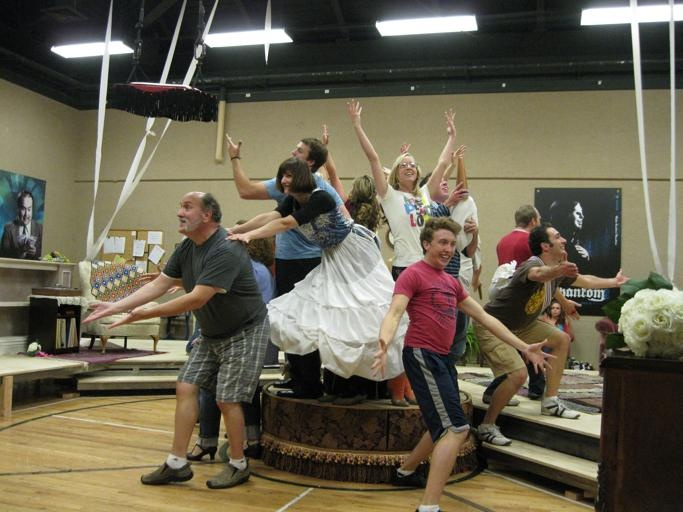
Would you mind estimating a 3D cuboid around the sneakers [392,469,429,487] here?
[{"bbox_3d":[0.460,1.506,3.662,0.251,0.118,0.095,3,-3,-4],"label":"sneakers"}]

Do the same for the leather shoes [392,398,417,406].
[{"bbox_3d":[0.449,1.050,3.854,0.169,0.049,0.066,-2,-7,12],"label":"leather shoes"}]

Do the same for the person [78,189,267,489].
[{"bbox_3d":[-0.914,0.540,3.537,0.886,1.928,0.674,3,-2,-8],"label":"person"}]

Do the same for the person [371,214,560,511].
[{"bbox_3d":[0.601,0.657,3.311,0.972,1.782,0.646,3,-2,-10],"label":"person"}]

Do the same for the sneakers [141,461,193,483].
[{"bbox_3d":[-1.109,1.419,3.513,0.308,0.142,0.136,1,-9,-8],"label":"sneakers"}]

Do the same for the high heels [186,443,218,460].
[{"bbox_3d":[-1.018,1.443,4.007,0.219,0.128,0.120,9,-14,-13],"label":"high heels"}]

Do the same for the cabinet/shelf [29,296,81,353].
[{"bbox_3d":[-3.372,0.815,6.407,0.555,0.515,0.386,4,-3,-28],"label":"cabinet/shelf"}]

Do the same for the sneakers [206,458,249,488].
[{"bbox_3d":[-0.742,1.430,3.583,0.125,0.126,0.273,-6,-7,43],"label":"sneakers"}]

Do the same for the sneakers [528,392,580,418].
[{"bbox_3d":[1.691,1.187,4.246,0.285,0.143,0.121,-2,-2,30],"label":"sneakers"}]

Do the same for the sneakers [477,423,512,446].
[{"bbox_3d":[1.191,1.369,4.152,0.282,0.141,0.104,-5,-4,42],"label":"sneakers"}]
